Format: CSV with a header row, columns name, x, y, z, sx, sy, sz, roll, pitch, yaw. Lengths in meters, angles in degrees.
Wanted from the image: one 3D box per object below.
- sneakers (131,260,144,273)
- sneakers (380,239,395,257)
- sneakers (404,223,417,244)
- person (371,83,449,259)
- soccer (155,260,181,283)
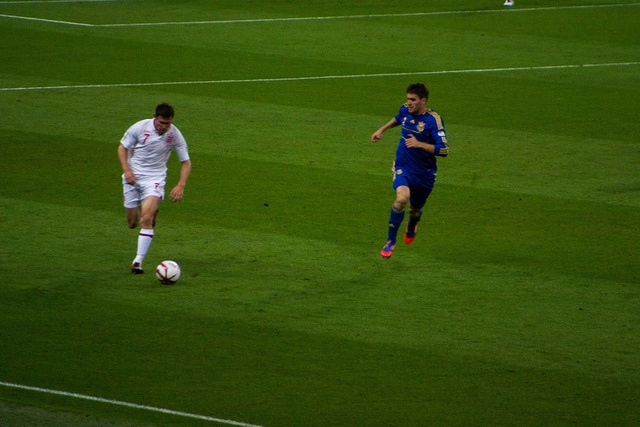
name,x,y,z,sx,sy,sz,roll,pitch,yaw
sneakers,-2.891,0.827,20.004,0.202,0.165,0.427,1,-9,-14
sneakers,1.062,0.568,20.728,0.161,0.130,0.355,4,14,16
sneakers,1.466,0.322,21.310,0.154,0.324,0.153,10,-22,19
person,1.426,-0.699,20.802,0.963,2.889,0.912,13,9,-1
soccer,-2.312,0.916,19.871,0.490,0.318,0.358,14,-7,1
